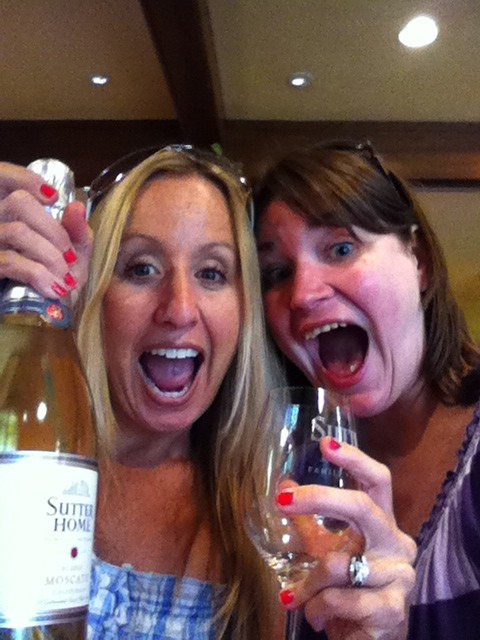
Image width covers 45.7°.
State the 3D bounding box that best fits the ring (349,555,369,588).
[{"bbox_3d":[0.126,0.266,0.603,0.020,0.032,0.024,-2,-11,10],"label":"ring"}]
